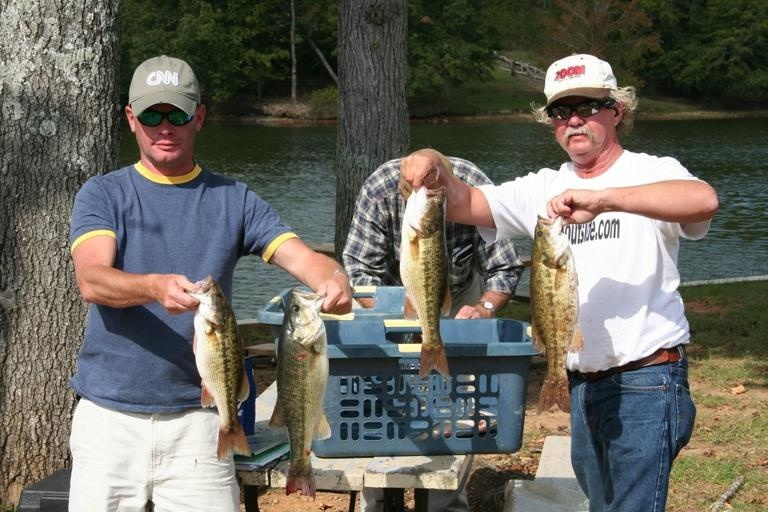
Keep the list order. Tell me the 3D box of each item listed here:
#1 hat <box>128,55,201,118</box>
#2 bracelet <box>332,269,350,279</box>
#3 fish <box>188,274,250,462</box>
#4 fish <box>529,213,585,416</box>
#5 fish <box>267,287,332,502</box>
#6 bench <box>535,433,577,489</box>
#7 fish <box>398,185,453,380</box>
[{"bbox_3d":[-1.729,-1.376,9.750,0.440,0.328,0.610,-1,4,-10],"label":"hat"},{"bbox_3d":[-0.344,0.133,9.637,0.106,0.050,0.136,0,9,-2],"label":"bracelet"},{"bbox_3d":[-1.247,0.850,9.377,0.422,1.429,0.182,-1,11,-8],"label":"fish"},{"bbox_3d":[1.303,0.444,9.557,0.643,1.518,0.369,-4,2,9],"label":"fish"},{"bbox_3d":[-0.628,0.968,9.295,0.776,1.681,0.319,0,4,4],"label":"fish"},{"bbox_3d":[1.587,1.903,11.346,0.318,0.131,0.438,3,17,11],"label":"bench"},{"bbox_3d":[0.296,0.175,9.690,0.501,1.391,0.397,-1,1,-1],"label":"fish"}]
